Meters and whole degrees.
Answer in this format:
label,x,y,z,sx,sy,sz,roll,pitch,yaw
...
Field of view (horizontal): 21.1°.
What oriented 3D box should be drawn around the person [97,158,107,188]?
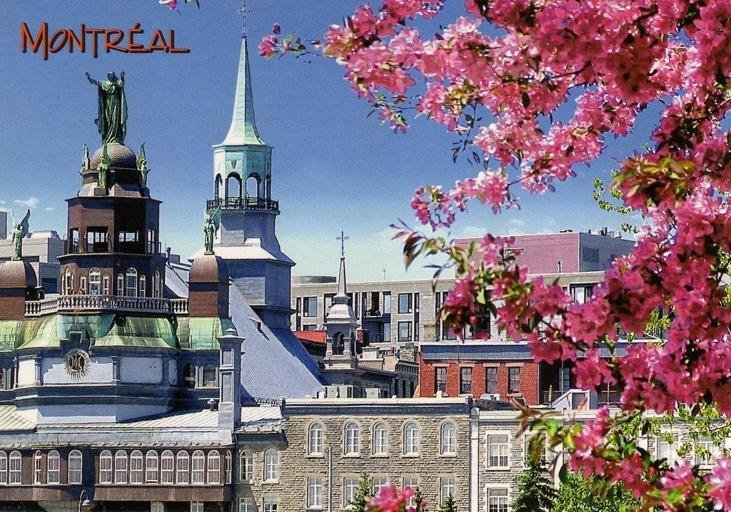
label,x,y,z,sx,sy,sz,roll,pitch,yaw
person,-14.836,-4.638,110.925,0.522,1.622,0.776,0,-9,-8
